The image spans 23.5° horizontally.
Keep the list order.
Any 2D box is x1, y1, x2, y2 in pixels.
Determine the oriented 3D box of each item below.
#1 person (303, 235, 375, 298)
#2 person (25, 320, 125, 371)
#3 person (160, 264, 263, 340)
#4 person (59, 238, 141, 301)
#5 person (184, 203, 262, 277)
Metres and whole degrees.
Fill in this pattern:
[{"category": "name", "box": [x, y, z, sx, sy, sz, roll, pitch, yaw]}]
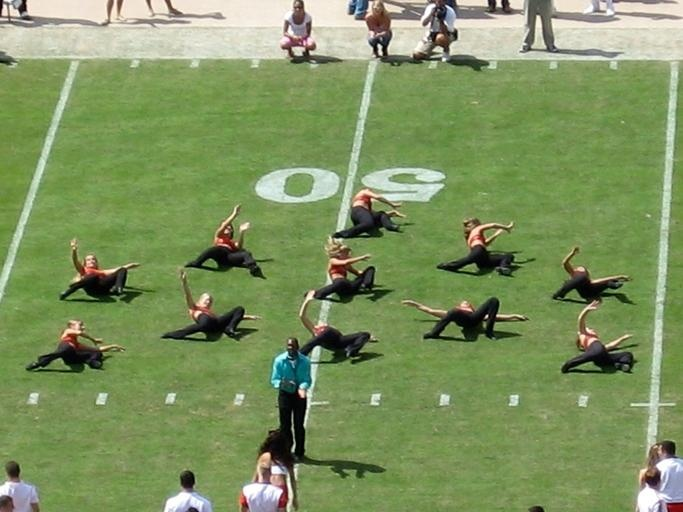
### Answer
[{"category": "person", "box": [0.043, 0.274, 35.294, 1.633, 1.402, 0.726, -9, 23, -27]}, {"category": "person", "box": [-5.821, 1.941, 33.545, 2.577, 0.701, 1.307, -3, 39, -6]}, {"category": "person", "box": [-2.881, 1.037, 34.091, 1.634, 1.429, 0.642, -3, 21, -10]}, {"category": "person", "box": [-5.386, 0.153, 35.516, 1.571, 1.515, 1.188, -7, 21, -21]}, {"category": "person", "box": [-2.724, -0.277, 36.551, 1.970, 1.024, 1.223, -2, 60, 14]}]
